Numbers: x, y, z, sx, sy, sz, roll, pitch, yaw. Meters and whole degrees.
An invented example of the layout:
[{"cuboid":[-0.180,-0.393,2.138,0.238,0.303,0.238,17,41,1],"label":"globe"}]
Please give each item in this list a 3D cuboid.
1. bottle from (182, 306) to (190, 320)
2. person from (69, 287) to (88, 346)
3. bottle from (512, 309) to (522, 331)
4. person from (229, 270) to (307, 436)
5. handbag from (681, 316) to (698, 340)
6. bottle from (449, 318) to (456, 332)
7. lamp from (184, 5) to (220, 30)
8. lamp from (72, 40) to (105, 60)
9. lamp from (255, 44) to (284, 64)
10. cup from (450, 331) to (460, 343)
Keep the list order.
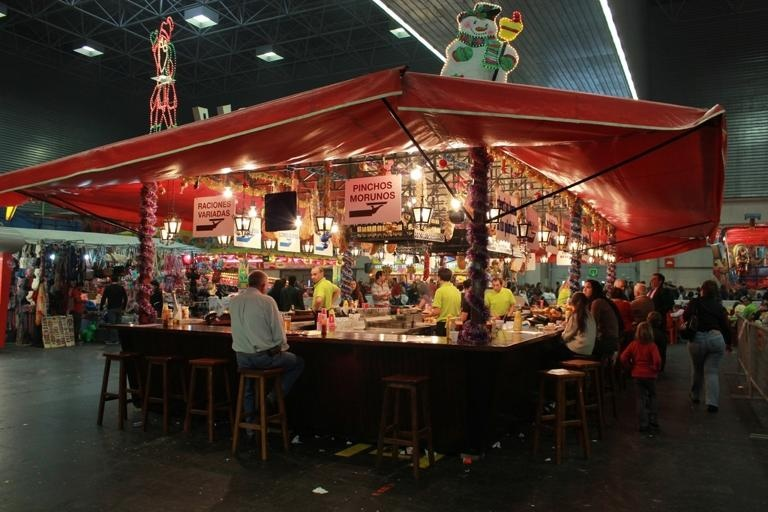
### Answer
[{"cuboid":[-3.598,1.039,10.961,0.090,0.249,0.256,-1,5,-13],"label":"bottle"},{"cuboid":[-9.059,1.717,18.023,0.418,1.602,0.456,-3,6,-26],"label":"person"},{"cuboid":[2.000,0.981,9.162,0.077,0.297,0.201,0,5,4],"label":"bottle"},{"cuboid":[-1.768,1.405,9.082,1.018,2.348,0.577,-1,5,-12],"label":"person"},{"cuboid":[5.422,1.286,10.827,0.190,0.406,0.432,13,-3,5],"label":"handbag"},{"cuboid":[0.989,1.015,8.898,0.121,0.175,0.287,1,5,7],"label":"bottle"},{"cuboid":[-6.208,-8.115,20.871,1.065,0.459,1.022,4,3,19],"label":"lamp"},{"cuboid":[-11.547,-8.038,23.727,0.975,0.227,1.060,6,-8,-44],"label":"lamp"},{"cuboid":[-4.585,-7.790,23.628,0.885,0.369,0.874,-2,-5,35],"label":"lamp"},{"cuboid":[1.012,1.165,8.720,0.167,0.149,0.133,0,-13,7],"label":"cup"}]
